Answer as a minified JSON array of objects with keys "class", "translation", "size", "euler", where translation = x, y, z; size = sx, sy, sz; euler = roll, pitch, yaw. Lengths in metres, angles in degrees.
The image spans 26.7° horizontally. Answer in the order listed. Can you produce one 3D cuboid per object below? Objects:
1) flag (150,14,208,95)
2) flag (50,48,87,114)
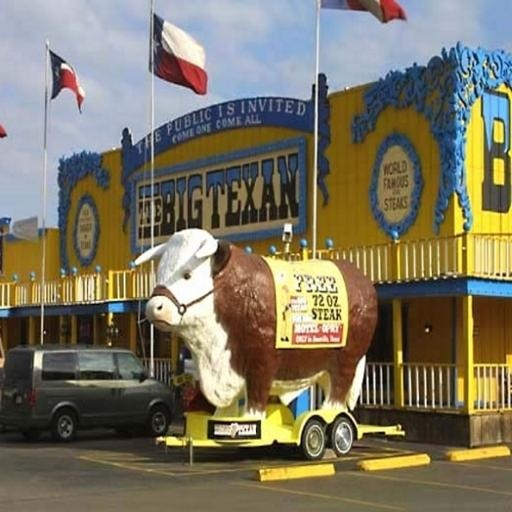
[{"class":"flag","translation":[-1.779,-4.735,25.973],"size":[1.530,0.277,2.464],"euler":[7,-28,-9]},{"class":"flag","translation":[-5.213,-4.984,29.787],"size":[0.803,2.857,0.345],"euler":[-3,-40,-10]}]
